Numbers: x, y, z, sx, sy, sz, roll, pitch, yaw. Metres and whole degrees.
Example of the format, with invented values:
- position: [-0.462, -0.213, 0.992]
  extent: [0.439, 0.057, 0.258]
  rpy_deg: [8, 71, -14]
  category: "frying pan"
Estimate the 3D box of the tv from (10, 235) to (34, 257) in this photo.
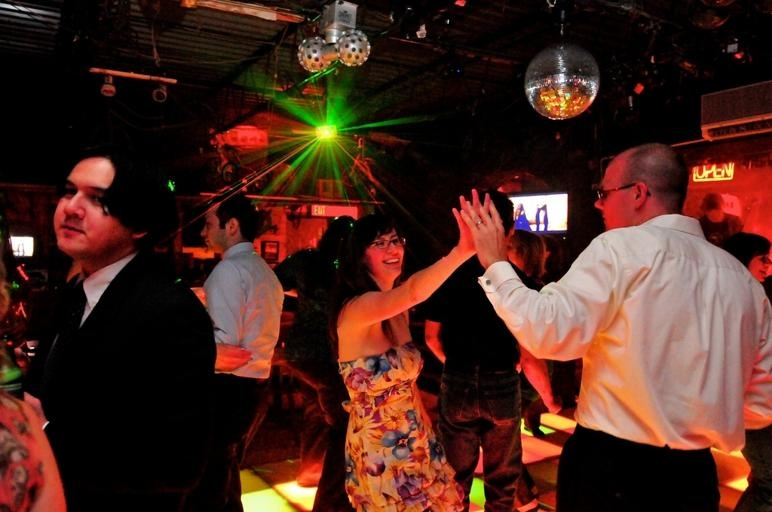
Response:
- position: [-5.455, -0.160, 9.271]
  extent: [0.105, 0.354, 0.420]
  rpy_deg: [-2, -2, 32]
  category: "tv"

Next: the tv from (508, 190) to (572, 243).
- position: [1.992, -0.542, 8.244]
  extent: [0.066, 0.531, 0.975]
  rpy_deg: [4, -2, -39]
  category: "tv"

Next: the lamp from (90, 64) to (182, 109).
- position: [-3.712, -2.521, 9.201]
  extent: [1.144, 0.583, 1.810]
  rpy_deg: [-1, 3, -16]
  category: "lamp"
